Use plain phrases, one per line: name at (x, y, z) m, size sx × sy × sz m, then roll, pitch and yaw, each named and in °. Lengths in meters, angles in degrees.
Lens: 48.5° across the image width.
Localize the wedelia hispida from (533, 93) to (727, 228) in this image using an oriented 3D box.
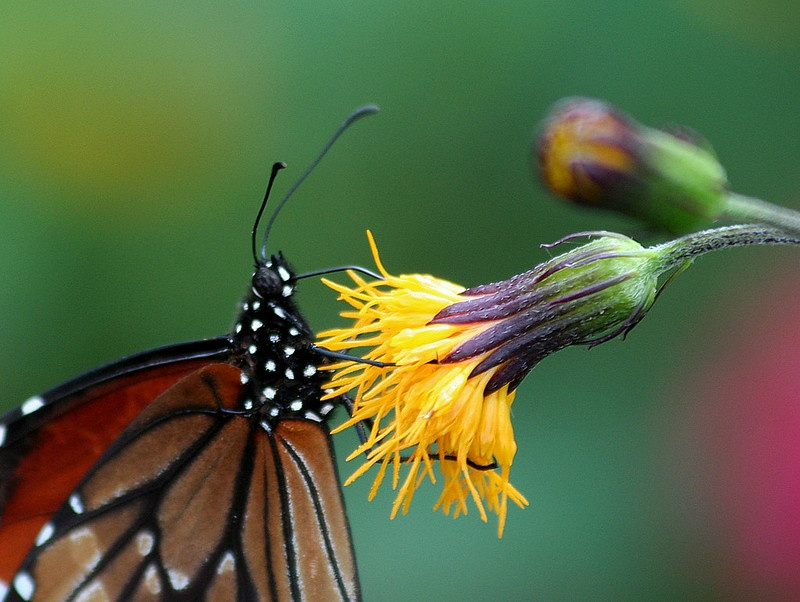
wedelia hispida at (0.707, -0.382, 2.825) m, size 0.613 × 0.318 × 0.292 m, roll 20°, pitch -93°, yaw -7°
